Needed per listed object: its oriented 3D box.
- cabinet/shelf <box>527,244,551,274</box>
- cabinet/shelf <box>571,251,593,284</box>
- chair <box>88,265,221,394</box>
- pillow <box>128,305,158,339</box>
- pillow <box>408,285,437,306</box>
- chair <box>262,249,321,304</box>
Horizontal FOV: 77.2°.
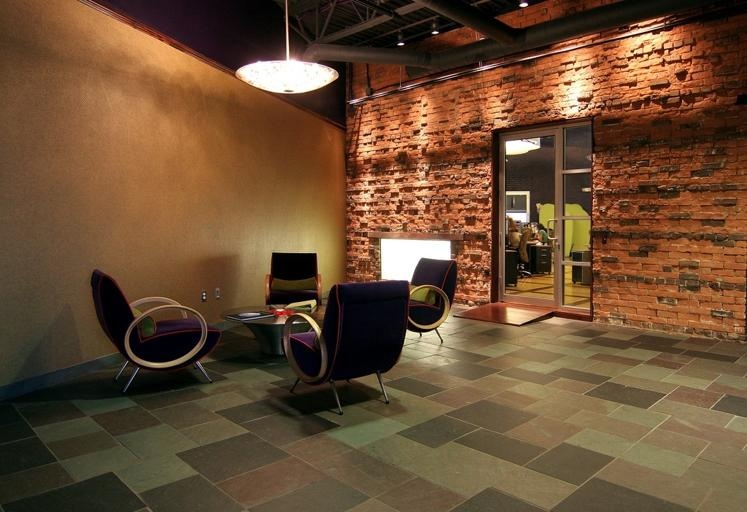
[{"bbox_3d":[3.871,0.110,11.081,0.480,0.716,0.614,2,12,15],"label":"cabinet/shelf"},{"bbox_3d":[3.507,0.211,7.852,0.219,0.593,0.457,-4,12,-10],"label":"cabinet/shelf"},{"bbox_3d":[-2.517,0.770,5.457,1.075,1.402,1.231,-7,13,-28],"label":"chair"},{"bbox_3d":[-2.393,0.762,5.121,0.378,0.294,0.248,0,1,0],"label":"pillow"},{"bbox_3d":[0.722,0.555,6.616,0.353,0.335,0.283,11,-9,-14],"label":"pillow"},{"bbox_3d":[-1.304,0.372,7.802,0.997,1.088,0.928,0,-4,-6],"label":"chair"}]
